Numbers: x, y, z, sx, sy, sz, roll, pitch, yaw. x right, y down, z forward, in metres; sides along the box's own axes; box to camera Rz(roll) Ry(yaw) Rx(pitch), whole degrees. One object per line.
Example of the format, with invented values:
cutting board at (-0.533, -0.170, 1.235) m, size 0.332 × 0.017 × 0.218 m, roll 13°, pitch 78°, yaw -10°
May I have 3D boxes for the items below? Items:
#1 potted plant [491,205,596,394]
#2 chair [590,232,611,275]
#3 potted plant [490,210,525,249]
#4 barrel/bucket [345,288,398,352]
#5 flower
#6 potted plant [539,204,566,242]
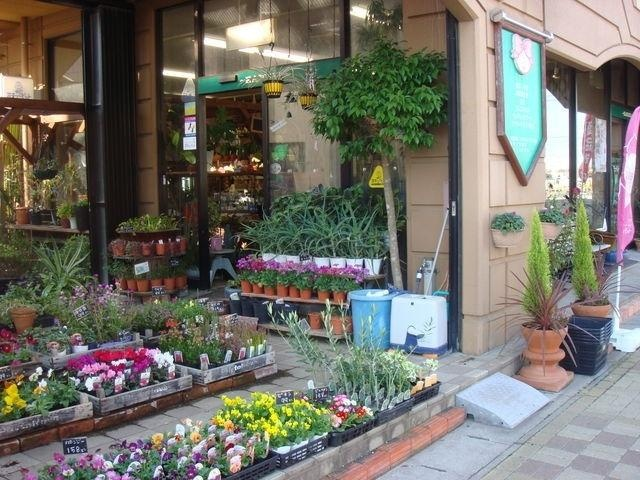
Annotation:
potted plant at (2.333, 0.588, 5.255) m, size 0.673 × 1.750 × 0.733 m, roll 2°, pitch -5°, yaw -39°
chair at (4.505, 0.203, 8.442) m, size 0.407 × 0.496 × 0.648 m, roll 0°, pitch 3°, yaw 28°
potted plant at (1.970, -0.107, 5.396) m, size 0.336 × 0.347 × 0.345 m, roll 0°, pitch 1°, yaw 41°
barrel/bucket at (0.523, 0.790, 5.153) m, size 0.513 × 0.599 × 0.588 m, roll 0°, pitch -2°, yaw -4°
flower at (-1.000, 1.349, 4.347) m, size 0.938 × 0.247 × 2.904 m, roll 0°, pitch 6°, yaw 38°
potted plant at (2.789, -0.156, 6.318) m, size 0.310 × 0.342 × 0.314 m, roll 7°, pitch -1°, yaw -30°
